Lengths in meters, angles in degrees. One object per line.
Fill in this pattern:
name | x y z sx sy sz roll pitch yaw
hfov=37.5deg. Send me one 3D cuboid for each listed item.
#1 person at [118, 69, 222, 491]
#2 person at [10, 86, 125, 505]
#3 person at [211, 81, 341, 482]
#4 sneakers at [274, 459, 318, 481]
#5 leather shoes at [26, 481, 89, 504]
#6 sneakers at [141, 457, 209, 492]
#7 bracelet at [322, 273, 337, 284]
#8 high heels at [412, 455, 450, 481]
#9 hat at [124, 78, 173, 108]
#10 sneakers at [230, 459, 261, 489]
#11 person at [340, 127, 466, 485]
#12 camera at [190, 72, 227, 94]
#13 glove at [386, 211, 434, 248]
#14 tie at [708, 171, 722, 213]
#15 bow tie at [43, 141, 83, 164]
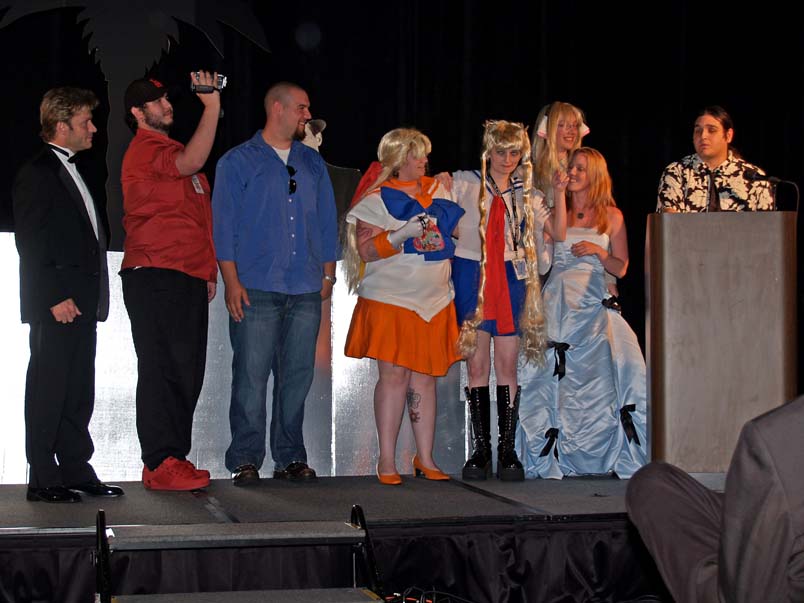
person | -1.059 -0.092 5.431 0.436 1.668 0.392 1 0 -13
person | -1.449 -0.061 5.175 0.435 1.669 0.385 1 0 -35
person | -0.585 -0.096 5.610 0.612 1.576 0.365 1 0 -11
sneakers | -0.492 0.783 5.545 0.190 0.065 0.082 -6 -8 35
leather shoes | -1.463 0.802 5.008 0.192 0.075 0.086 -1 -6 10
sneakers | -1.015 0.766 5.307 0.240 0.102 0.141 0 -3 11
bracelet | -0.357 -0.119 5.782 0.058 0.039 0.074 1 -1 -3
high heels | 0.131 0.814 5.760 0.077 0.099 0.223 5 -5 -42
hat | -1.163 -0.951 5.469 0.171 0.086 0.122 -22 20 6
sneakers | -0.711 0.785 5.433 0.125 0.084 0.167 1 0 -8
person | 0.001 0.005 5.671 0.564 1.318 0.420 1 0 1
camera | -0.859 -0.981 5.304 0.145 0.081 0.175 1 0 -14
glove | 0.045 -0.328 5.488 0.124 0.071 0.195 35 -59 -29
tie | 1.493 -0.538 5.719 0.056 0.204 0.222 1 0 15
bow tie | -1.488 -0.651 5.237 0.101 0.039 0.090 33 2 8
